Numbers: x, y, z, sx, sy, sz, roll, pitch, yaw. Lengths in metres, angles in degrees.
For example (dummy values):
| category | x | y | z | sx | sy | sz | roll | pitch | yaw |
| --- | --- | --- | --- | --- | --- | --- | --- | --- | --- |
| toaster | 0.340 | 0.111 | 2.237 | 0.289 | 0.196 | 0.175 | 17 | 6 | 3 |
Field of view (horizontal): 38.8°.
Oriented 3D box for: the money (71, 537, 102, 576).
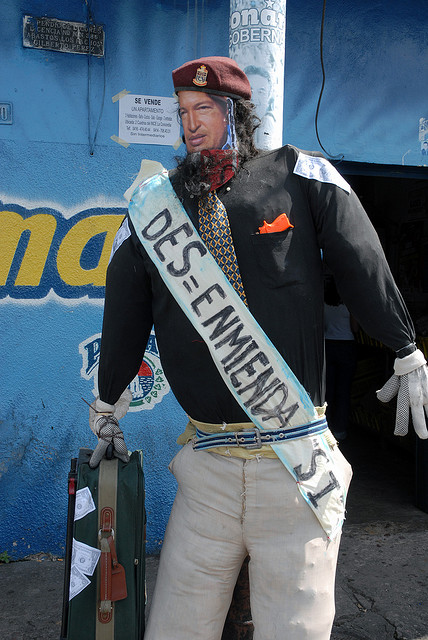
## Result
| category | x | y | z | sx | sy | sz | roll | pitch | yaw |
| --- | --- | --- | --- | --- | --- | --- | --- | --- | --- |
| money | -0.386 | 0.687 | 1.759 | 0.101 | 0.079 | 0.007 | 10 | 0 | 27 |

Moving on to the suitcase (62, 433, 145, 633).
| category | x | y | z | sx | sy | sz | roll | pitch | yaw |
| --- | --- | --- | --- | --- | --- | --- | --- | --- | --- |
| suitcase | -0.333 | 0.641 | 1.863 | 0.241 | 0.558 | 0.310 | 2 | 6 | -13 |

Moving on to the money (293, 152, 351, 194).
| category | x | y | z | sx | sy | sz | roll | pitch | yaw |
| --- | --- | --- | --- | --- | --- | --- | --- | --- | --- |
| money | 0.295 | -0.427 | 1.736 | 0.241 | 0.106 | 0.011 | 15 | -27 | -11 |

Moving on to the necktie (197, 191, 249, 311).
| category | x | y | z | sx | sy | sz | roll | pitch | yaw |
| --- | --- | --- | --- | --- | --- | --- | --- | --- | --- |
| necktie | 0.020 | -0.203 | 1.700 | 0.170 | 0.315 | 0.042 | 7 | 7 | 37 |

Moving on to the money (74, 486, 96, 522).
| category | x | y | z | sx | sy | sz | roll | pitch | yaw |
| --- | --- | --- | --- | --- | --- | --- | --- | --- | --- |
| money | -0.380 | 0.545 | 1.795 | 0.066 | 0.081 | 0.009 | 54 | 10 | 28 |
